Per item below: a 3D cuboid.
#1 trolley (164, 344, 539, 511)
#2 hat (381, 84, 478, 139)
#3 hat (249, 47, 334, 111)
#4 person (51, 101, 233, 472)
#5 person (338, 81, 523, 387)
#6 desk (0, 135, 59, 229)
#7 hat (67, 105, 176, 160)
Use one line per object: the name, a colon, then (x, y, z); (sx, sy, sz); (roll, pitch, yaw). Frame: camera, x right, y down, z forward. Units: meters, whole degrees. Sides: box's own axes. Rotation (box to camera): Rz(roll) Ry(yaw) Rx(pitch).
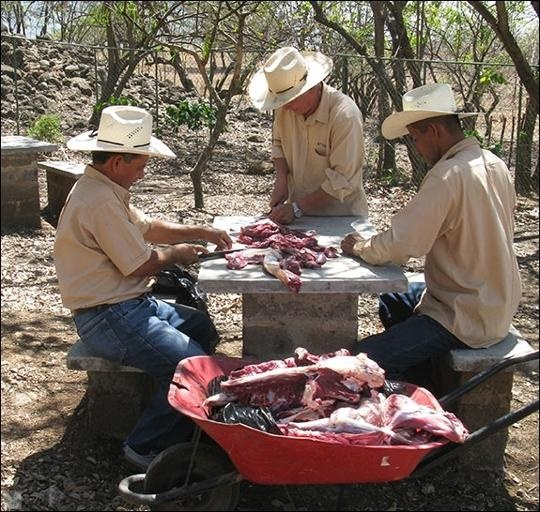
trolley: (0.195, 0.895, 3.448); (2.192, 0.541, 0.771); (1, 3, -3)
hat: (1.039, -0.979, 4.370); (0.667, 0.181, 0.518); (-11, 1, 24)
hat: (0.171, -1.417, 5.224); (0.689, 0.547, 0.747); (-1, 8, -1)
person: (-0.826, 0.128, 4.221); (1.101, 2.200, 1.338); (-2, 10, -2)
person: (1.123, -0.115, 4.272); (1.021, 2.010, 0.522); (2, 11, 16)
desk: (-3.207, -0.932, 8.498); (0.696, 1.194, 0.827); (-4, 10, -16)
hat: (-0.945, -0.731, 4.201); (0.676, 0.193, 0.499); (5, -9, 3)
